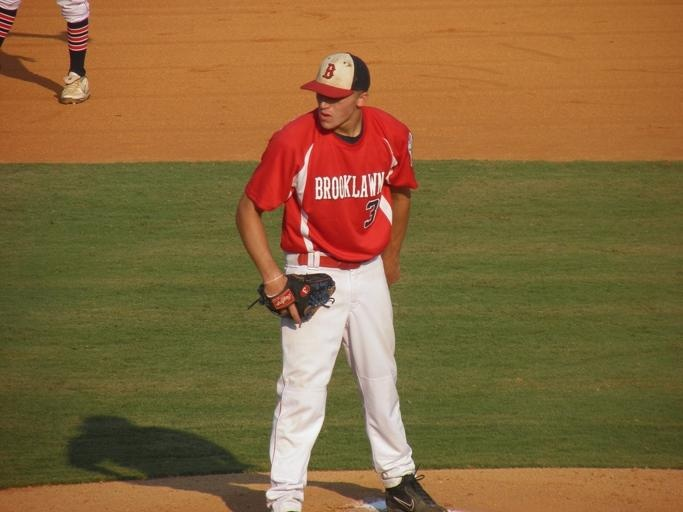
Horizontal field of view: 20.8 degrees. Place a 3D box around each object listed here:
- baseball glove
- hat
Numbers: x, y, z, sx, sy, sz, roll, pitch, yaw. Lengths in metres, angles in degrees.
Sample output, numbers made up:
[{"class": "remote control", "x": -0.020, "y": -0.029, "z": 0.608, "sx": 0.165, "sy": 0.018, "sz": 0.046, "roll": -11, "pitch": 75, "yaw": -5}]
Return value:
[{"class": "baseball glove", "x": -0.410, "y": 0.370, "z": 16.884, "sx": 0.691, "sy": 0.421, "sz": 0.253, "roll": 3, "pitch": 22, "yaw": -1}, {"class": "hat", "x": -0.062, "y": -1.621, "z": 16.870, "sx": 0.560, "sy": 0.275, "sz": 0.381, "roll": -2, "pitch": 11, "yaw": -21}]
